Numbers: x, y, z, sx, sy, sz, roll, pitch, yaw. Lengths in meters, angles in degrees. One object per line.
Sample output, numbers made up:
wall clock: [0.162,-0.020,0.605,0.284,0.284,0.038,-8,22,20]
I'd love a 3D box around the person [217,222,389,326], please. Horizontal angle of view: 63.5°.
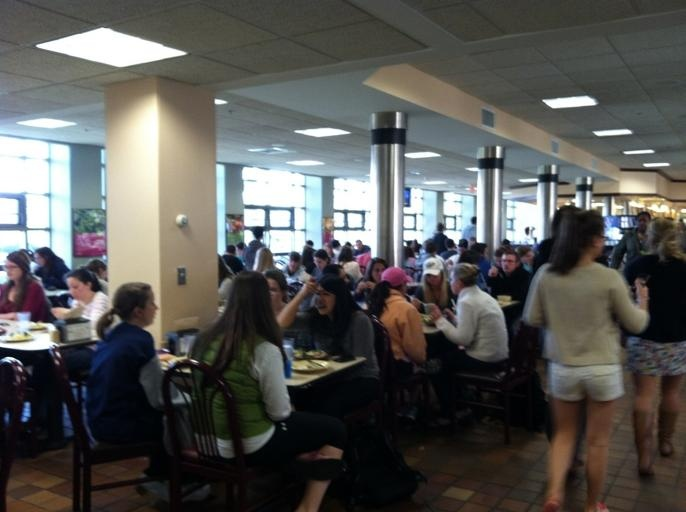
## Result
person: [-0.242,0.212,4.649,0.732,0.804,0.588,-17,12,-31]

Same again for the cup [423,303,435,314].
cup: [0.791,0.482,5.071,0.079,0.070,0.095,0,-2,3]

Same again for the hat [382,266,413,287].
hat: [0.484,0.204,5.148,0.174,0.131,0.256,9,14,38]

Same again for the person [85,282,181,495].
person: [-1.355,0.808,3.450,0.501,1.246,0.357,-3,3,-9]

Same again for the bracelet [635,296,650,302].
bracelet: [1.937,0.277,3.568,0.050,0.035,0.048,1,3,11]
